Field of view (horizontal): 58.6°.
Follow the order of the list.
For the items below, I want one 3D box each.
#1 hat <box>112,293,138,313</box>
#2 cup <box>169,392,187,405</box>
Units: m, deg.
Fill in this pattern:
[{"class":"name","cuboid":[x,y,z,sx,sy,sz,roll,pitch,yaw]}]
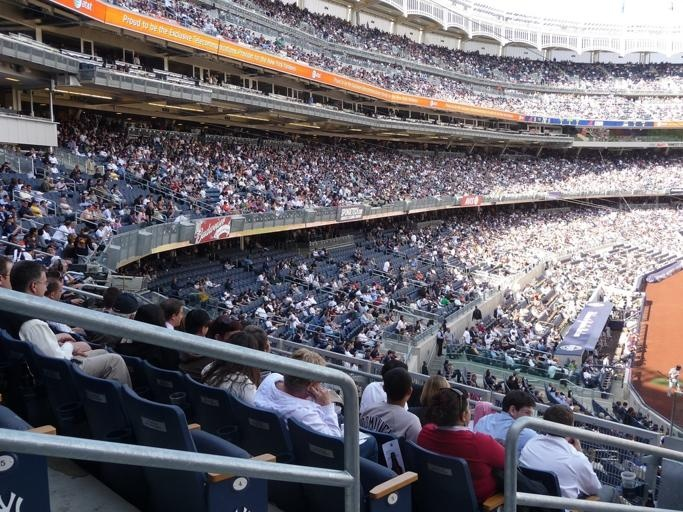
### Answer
[{"class":"hat","cuboid":[-1.622,0.348,4.584,0.145,0.088,0.176,5,10,1]},{"class":"cup","cuboid":[-1.025,0.894,3.825,0.083,0.048,0.076,-1,0,0]}]
